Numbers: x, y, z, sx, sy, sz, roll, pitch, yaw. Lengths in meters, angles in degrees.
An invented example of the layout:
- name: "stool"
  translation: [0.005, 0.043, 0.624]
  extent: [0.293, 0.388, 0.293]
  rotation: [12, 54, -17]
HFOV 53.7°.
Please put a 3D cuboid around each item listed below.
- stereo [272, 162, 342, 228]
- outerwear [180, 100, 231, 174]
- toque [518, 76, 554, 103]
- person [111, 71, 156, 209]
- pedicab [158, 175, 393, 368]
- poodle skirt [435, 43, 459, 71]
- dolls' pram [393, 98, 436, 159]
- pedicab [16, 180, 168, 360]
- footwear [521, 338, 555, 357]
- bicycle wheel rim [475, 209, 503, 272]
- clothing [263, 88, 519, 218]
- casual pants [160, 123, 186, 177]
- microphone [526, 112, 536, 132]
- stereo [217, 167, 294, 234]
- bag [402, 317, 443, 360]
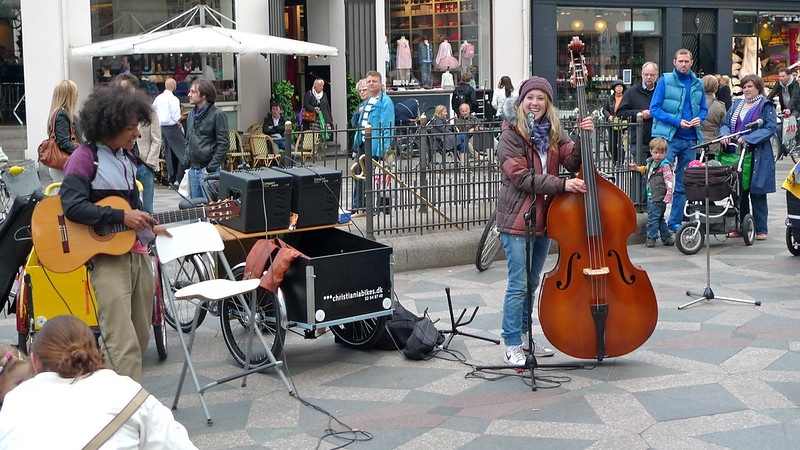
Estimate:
- name: "stereo"
  translation: [-1.127, -0.406, 9.538]
  extent: [0.689, 0.675, 0.695]
  rotation: [-5, 12, -27]
- name: "outerwear"
  translation: [-2.899, -1.243, 11.671]
  extent: [0.721, 0.980, 0.488]
  rotation: [1, 7, 22]
- name: "toque"
  translation: [1.518, -1.544, 8.861]
  extent: [0.321, 0.272, 0.264]
  rotation: [-2, -9, -16]
- name: "person"
  translation: [-4.119, -0.985, 12.233]
  extent: [0.844, 2.446, 0.798]
  rotation: [-3, 2, -16]
- name: "pedicab"
  translation: [-1.283, 0.397, 9.492]
  extent: [1.668, 2.083, 2.639]
  rotation: [5, -2, -43]
- name: "poodle skirt"
  translation: [1.349, -4.939, 23.257]
  extent: [0.847, 0.951, 0.523]
  rotation: [-1, 1, -18]
- name: "dolls' pram"
  translation: [0.181, -1.552, 12.258]
  extent: [0.742, 0.884, 0.499]
  rotation: [-8, 15, -11]
- name: "pedicab"
  translation: [-3.920, 0.505, 9.921]
  extent: [1.692, 2.612, 2.632]
  rotation: [-2, 13, -21]
- name: "footwear"
  translation: [1.631, 1.432, 9.237]
  extent: [0.468, 0.214, 0.176]
  rotation: [1, 7, 2]
- name: "bicycle wheel rim"
  translation: [1.317, 0.265, 11.677]
  extent: [0.170, 0.718, 0.718]
  rotation: [19, 12, 13]
- name: "clothing"
  translation: [-0.249, -1.006, 12.184]
  extent: [2.568, 1.518, 2.658]
  rotation: [3, 6, 37]
- name: "casual pants"
  translation: [-4.405, -1.458, 15.438]
  extent: [0.393, 1.288, 0.396]
  rotation: [-5, 37, -8]
- name: "microphone"
  translation: [1.445, -1.143, 8.720]
  extent: [0.105, 0.189, 0.094]
  rotation: [9, -20, -21]
- name: "stereo"
  translation: [-1.716, -0.280, 9.417]
  extent: [0.744, 0.674, 0.764]
  rotation: [1, -9, -2]
- name: "bag"
  translation: [0.240, 1.336, 9.528]
  extent: [0.420, 0.329, 0.827]
  rotation: [12, 15, 11]
